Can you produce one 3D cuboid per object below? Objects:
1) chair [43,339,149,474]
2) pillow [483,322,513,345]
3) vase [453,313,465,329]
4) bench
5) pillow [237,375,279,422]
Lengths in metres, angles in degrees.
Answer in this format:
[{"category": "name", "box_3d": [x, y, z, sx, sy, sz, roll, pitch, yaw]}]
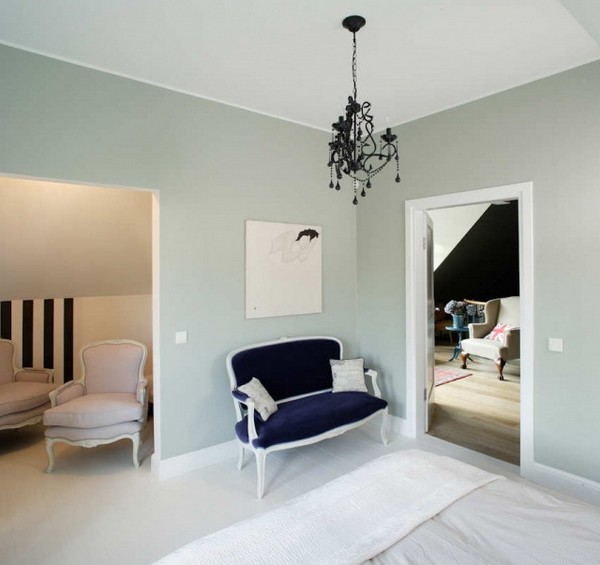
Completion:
[{"category": "chair", "box_3d": [-1.738, 0.969, 4.155, 0.763, 1.014, 0.872, 1, -5, -20]}, {"category": "pillow", "box_3d": [2.786, 0.712, 6.785, 0.323, 0.210, 0.558, 0, 5, 7]}, {"category": "vase", "box_3d": [2.544, 0.620, 7.792, 0.176, 0.212, 0.182, -2, -6, 17]}, {"category": "bench", "box_3d": [0.071, 1.021, 4.075, 1.348, 1.007, 0.726, -6, 6, -36]}, {"category": "pillow", "box_3d": [-0.368, 0.929, 3.684, 0.063, 0.265, 0.260, -8, 12, 45]}]
